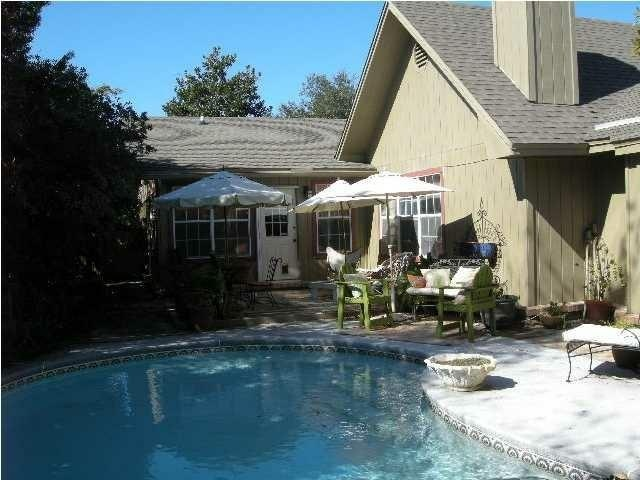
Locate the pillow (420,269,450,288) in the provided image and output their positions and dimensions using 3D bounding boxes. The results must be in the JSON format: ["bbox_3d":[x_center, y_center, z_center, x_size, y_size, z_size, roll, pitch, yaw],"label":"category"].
[{"bbox_3d":[2.190,0.680,10.759,0.383,0.180,0.392,-6,29,14],"label":"pillow"}]

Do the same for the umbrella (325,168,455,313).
[{"bbox_3d":[1.679,-0.044,13.191,3.419,3.730,3.382,-2,-2,-7],"label":"umbrella"}]

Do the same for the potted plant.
[{"bbox_3d":[5.231,0.734,10.685,0.582,1.569,0.904,-7,10,-15],"label":"potted plant"}]

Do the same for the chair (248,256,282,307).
[{"bbox_3d":[-1.412,0.938,13.632,0.815,1.143,0.692,-2,6,-7],"label":"chair"}]

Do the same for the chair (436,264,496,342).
[{"bbox_3d":[2.540,1.048,9.914,0.784,1.191,0.983,-4,-5,42],"label":"chair"}]

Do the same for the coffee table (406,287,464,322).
[{"bbox_3d":[2.232,1.221,11.300,0.331,0.510,1.029,18,-13,-27],"label":"coffee table"}]

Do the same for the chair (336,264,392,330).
[{"bbox_3d":[0.889,1.142,11.207,0.751,0.989,1.346,-2,-2,28],"label":"chair"}]

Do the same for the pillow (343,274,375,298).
[{"bbox_3d":[0.675,0.804,10.817,0.399,0.444,0.597,-2,4,6],"label":"pillow"}]
